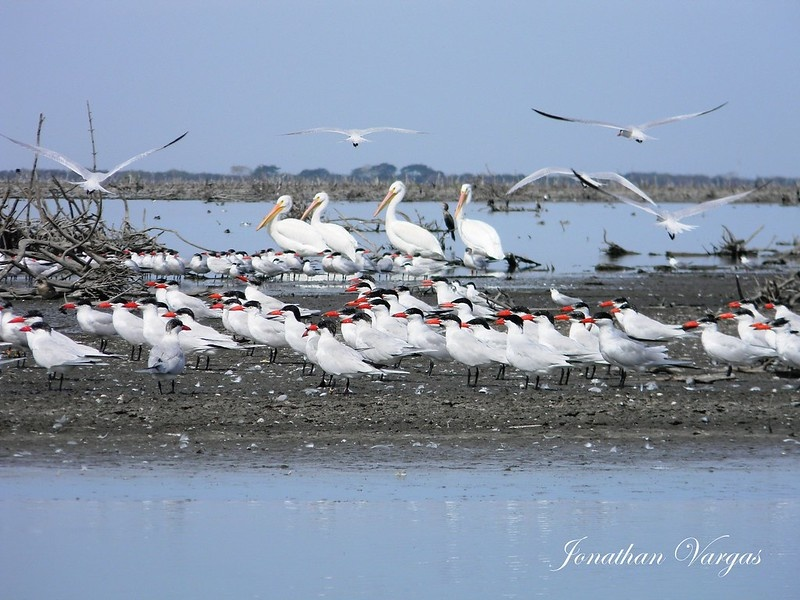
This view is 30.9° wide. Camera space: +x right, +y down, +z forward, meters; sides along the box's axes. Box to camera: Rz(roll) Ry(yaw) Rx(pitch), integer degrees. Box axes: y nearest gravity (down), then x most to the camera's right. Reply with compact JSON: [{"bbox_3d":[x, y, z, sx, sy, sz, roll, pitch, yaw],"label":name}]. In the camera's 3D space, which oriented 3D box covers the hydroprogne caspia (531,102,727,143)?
[{"bbox_3d":[4.358,-3.253,27.499,3.545,0.522,1.377,3,15,18],"label":"hydroprogne caspia"}]
